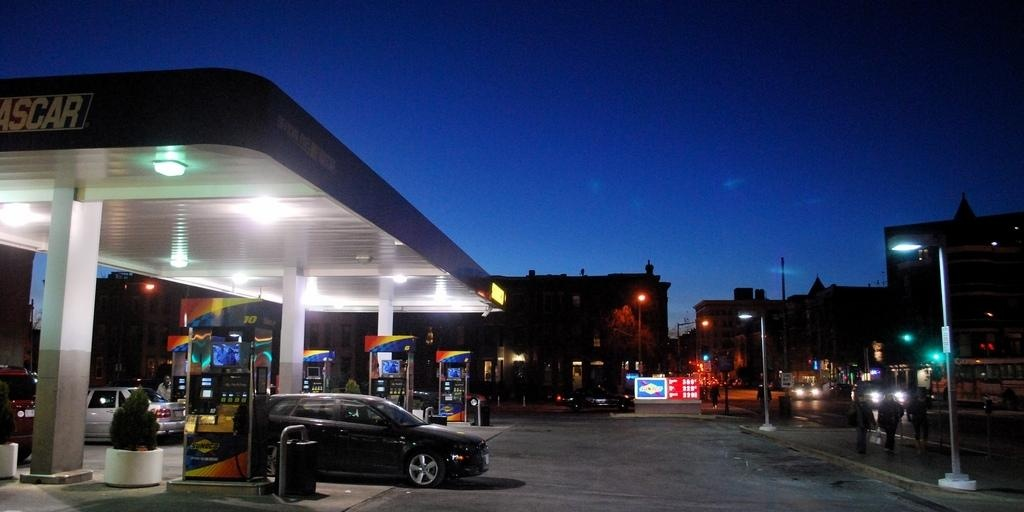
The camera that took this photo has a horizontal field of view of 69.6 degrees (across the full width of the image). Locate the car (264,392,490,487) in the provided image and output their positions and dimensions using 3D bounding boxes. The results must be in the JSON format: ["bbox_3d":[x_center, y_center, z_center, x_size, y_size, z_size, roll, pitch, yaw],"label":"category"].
[{"bbox_3d":[-5.116,6.971,29.060,8.404,2.286,3.431,-1,-9,5],"label":"car"}]

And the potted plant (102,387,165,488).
[{"bbox_3d":[-13.927,6.713,27.187,1.796,3.530,1.191,3,-13,-20],"label":"potted plant"}]

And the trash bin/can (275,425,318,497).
[{"bbox_3d":[-7.812,7.396,26.643,1.352,2.493,0.855,1,-13,-14],"label":"trash bin/can"}]

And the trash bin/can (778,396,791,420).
[{"bbox_3d":[19.149,10.641,52.084,0.756,1.429,1.371,-5,-12,15],"label":"trash bin/can"}]

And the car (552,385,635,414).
[{"bbox_3d":[6.638,11.664,59.671,5.725,1.322,2.277,-2,-8,9],"label":"car"}]
